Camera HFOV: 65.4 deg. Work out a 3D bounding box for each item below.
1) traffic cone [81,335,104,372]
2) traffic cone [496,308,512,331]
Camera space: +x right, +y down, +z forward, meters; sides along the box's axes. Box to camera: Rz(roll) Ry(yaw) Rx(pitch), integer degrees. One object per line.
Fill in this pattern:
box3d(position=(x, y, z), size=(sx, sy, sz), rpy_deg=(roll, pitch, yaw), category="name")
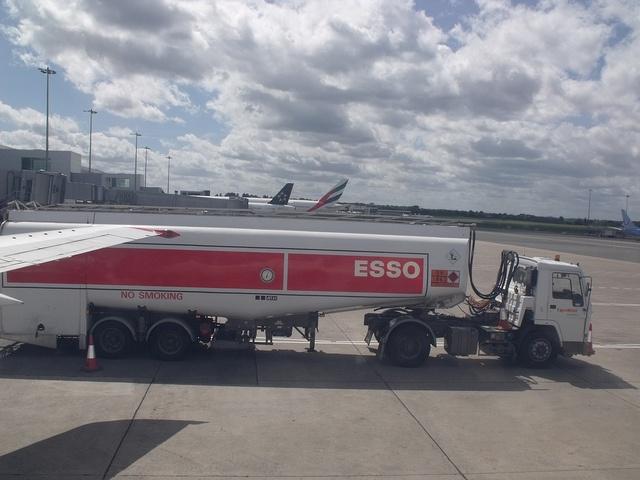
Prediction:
box3d(position=(-6.824, 3.296, 14.748), size=(0.489, 1.072, 0.717), rpy_deg=(-3, 10, -27), category="traffic cone")
box3d(position=(6.082, 2.611, 16.444), size=(0.570, 0.836, 0.570), rpy_deg=(1, 0, -38), category="traffic cone")
